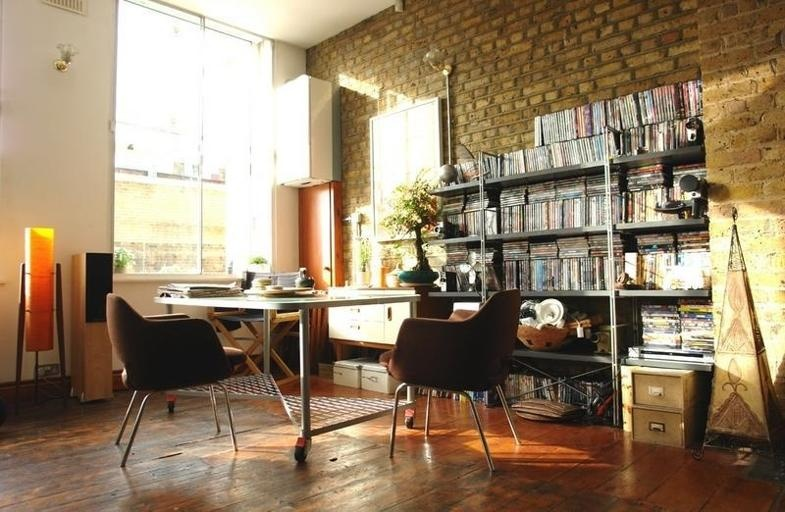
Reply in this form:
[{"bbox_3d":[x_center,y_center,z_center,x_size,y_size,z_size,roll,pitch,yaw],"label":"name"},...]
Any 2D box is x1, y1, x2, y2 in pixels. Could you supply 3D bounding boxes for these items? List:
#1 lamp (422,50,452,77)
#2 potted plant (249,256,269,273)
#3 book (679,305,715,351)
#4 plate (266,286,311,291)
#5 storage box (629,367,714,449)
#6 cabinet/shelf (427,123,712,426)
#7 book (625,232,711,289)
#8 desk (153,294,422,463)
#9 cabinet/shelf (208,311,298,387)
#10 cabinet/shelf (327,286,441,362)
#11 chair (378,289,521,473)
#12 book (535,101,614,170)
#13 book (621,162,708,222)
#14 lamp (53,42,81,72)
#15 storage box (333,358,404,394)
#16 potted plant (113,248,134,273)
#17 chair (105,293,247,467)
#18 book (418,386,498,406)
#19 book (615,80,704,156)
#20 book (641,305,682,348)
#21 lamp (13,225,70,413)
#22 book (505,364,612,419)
[{"bbox_3d":[0.520,-2.213,6.437,0.308,0.251,0.382,-8,28,26],"label":"lamp"},{"bbox_3d":[-1.734,0.108,7.310,0.242,0.150,0.231,0,-1,12],"label":"potted plant"},{"bbox_3d":[2.396,0.575,4.439,0.293,0.324,0.116,1,-3,35],"label":"book"},{"bbox_3d":[-0.826,0.253,4.416,0.343,0.029,0.196,0,6,8],"label":"plate"},{"bbox_3d":[2.159,1.169,4.473,0.511,0.592,0.708,1,0,42],"label":"storage box"},{"bbox_3d":[1.654,0.210,4.942,3.241,2.572,0.779,-3,-4,40],"label":"cabinet/shelf"},{"bbox_3d":[2.351,0.031,4.784,0.688,0.491,0.341,3,9,31],"label":"book"},{"bbox_3d":[-0.774,1.001,4.605,2.026,0.994,1.560,0,1,40],"label":"desk"},{"bbox_3d":[-1.648,1.075,6.862,1.039,1.127,0.933,-2,-4,21],"label":"cabinet/shelf"},{"bbox_3d":[-0.070,0.614,5.371,1.035,0.567,0.366,-2,-5,44],"label":"cabinet/shelf"},{"bbox_3d":[0.361,0.918,4.506,1.394,1.397,1.271,-1,-9,23],"label":"chair"},{"bbox_3d":[1.700,-1.097,5.177,0.886,0.643,0.281,-5,-6,35],"label":"book"},{"bbox_3d":[2.331,-0.542,4.728,0.323,0.464,0.582,7,-7,-41],"label":"book"},{"bbox_3d":[-3.581,-2.169,6.130,0.232,0.305,0.161,-5,9,-25],"label":"lamp"},{"bbox_3d":[-0.330,1.312,6.086,0.519,0.167,0.569,2,-3,-43],"label":"storage box"},{"bbox_3d":[-3.134,0.051,6.471,0.269,0.259,0.256,2,-6,-23],"label":"potted plant"},{"bbox_3d":[-1.782,0.903,4.788,1.412,1.399,1.262,-1,-2,-24],"label":"chair"},{"bbox_3d":[0.605,1.244,4.957,0.556,0.098,0.400,-4,-6,36],"label":"book"},{"bbox_3d":[2.293,-1.156,4.778,0.862,0.665,0.270,-1,-8,37],"label":"book"},{"bbox_3d":[2.239,0.581,4.686,0.377,0.296,0.343,-2,-10,18],"label":"book"},{"bbox_3d":[-3.563,0.601,5.599,0.512,1.771,0.703,-6,10,-29],"label":"lamp"},{"bbox_3d":[1.565,1.259,5.124,0.648,0.183,0.617,1,-2,-38],"label":"book"}]
